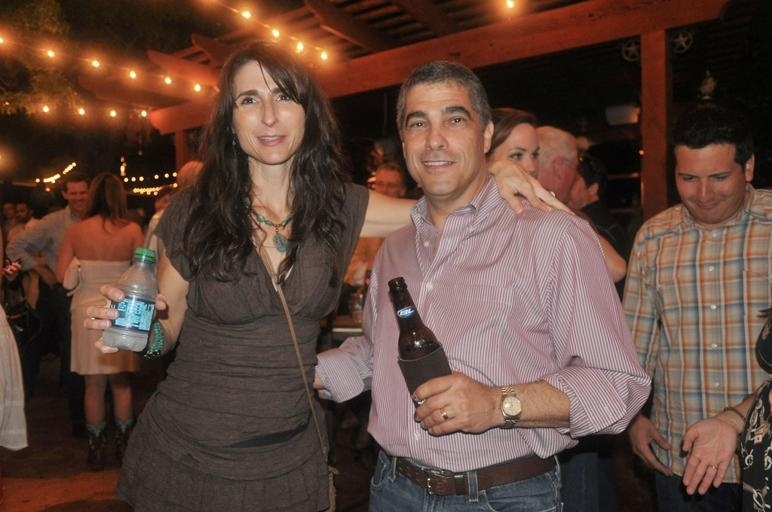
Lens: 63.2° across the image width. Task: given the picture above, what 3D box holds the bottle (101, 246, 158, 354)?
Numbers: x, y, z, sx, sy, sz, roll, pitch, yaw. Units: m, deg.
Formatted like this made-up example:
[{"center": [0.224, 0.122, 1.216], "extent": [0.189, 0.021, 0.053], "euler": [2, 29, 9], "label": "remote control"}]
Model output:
[{"center": [-1.199, 0.214, 2.955], "extent": [0.271, 0.496, 0.198], "euler": [-2, 2, -30], "label": "bottle"}]
